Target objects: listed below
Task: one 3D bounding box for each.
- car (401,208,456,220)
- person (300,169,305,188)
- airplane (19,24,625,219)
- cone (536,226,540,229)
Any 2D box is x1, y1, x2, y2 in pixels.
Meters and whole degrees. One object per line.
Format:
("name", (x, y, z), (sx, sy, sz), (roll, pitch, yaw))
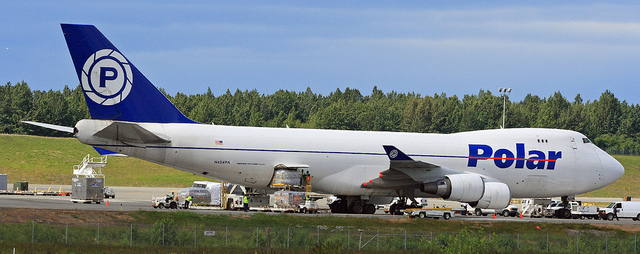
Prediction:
("car", (20.533, 16.041, 170.551), (7.201, 1.204, 3.162), (0, -1, -6))
("person", (-3.258, 9.332, 169.291), (0.765, 2.802, 0.354), (3, -6, -3))
("airplane", (2.790, -1.333, 169.961), (95.501, 31.247, 4.373), (2, -6, -4))
("cone", (40.118, 18.533, 168.221), (0.572, 0.455, 0.318), (1, -5, 10))
